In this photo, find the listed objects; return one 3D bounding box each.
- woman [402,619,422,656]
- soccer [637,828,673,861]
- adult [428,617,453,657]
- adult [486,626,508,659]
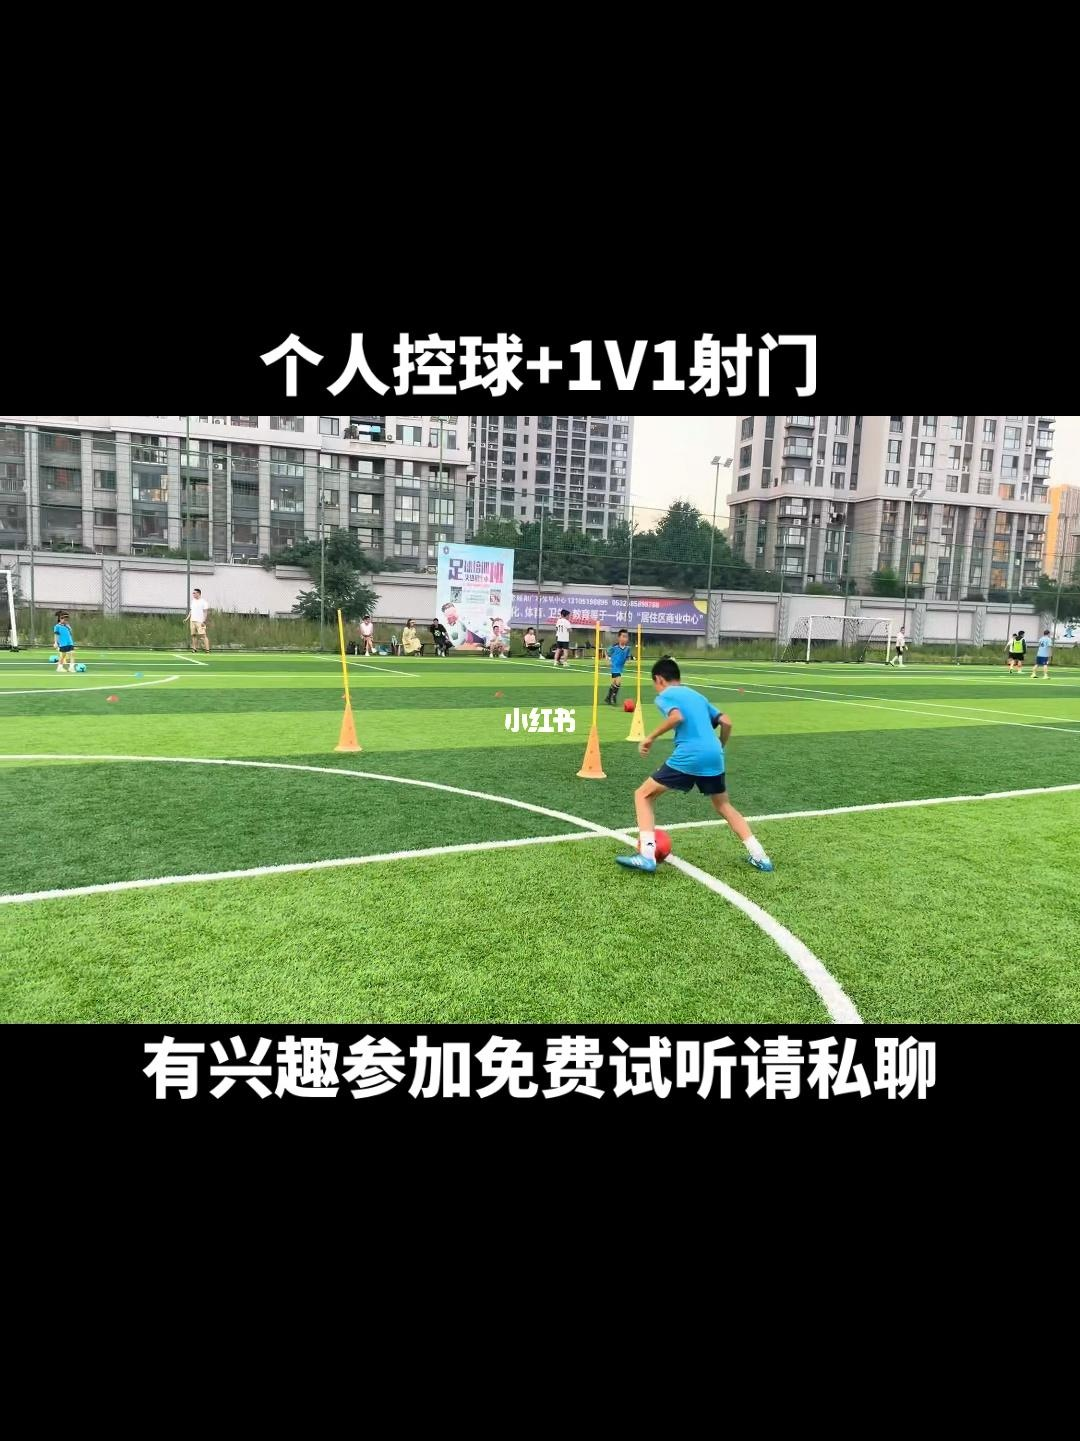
[{"bbox_3d":[-3.540,-2.230,31.102,0.508,0.912,1.289,1,6,-8],"label":"woman"},{"bbox_3d":[0.599,0.663,5.868,0.149,0.198,0.162,-6,24,-3],"label":"soccer"},{"bbox_3d":[-2.644,-2.235,30.862,0.517,0.993,0.523,0,6,-9],"label":"adult"},{"bbox_3d":[-1.191,-2.214,31.344,0.558,0.899,0.474,1,6,-7],"label":"adult"}]
